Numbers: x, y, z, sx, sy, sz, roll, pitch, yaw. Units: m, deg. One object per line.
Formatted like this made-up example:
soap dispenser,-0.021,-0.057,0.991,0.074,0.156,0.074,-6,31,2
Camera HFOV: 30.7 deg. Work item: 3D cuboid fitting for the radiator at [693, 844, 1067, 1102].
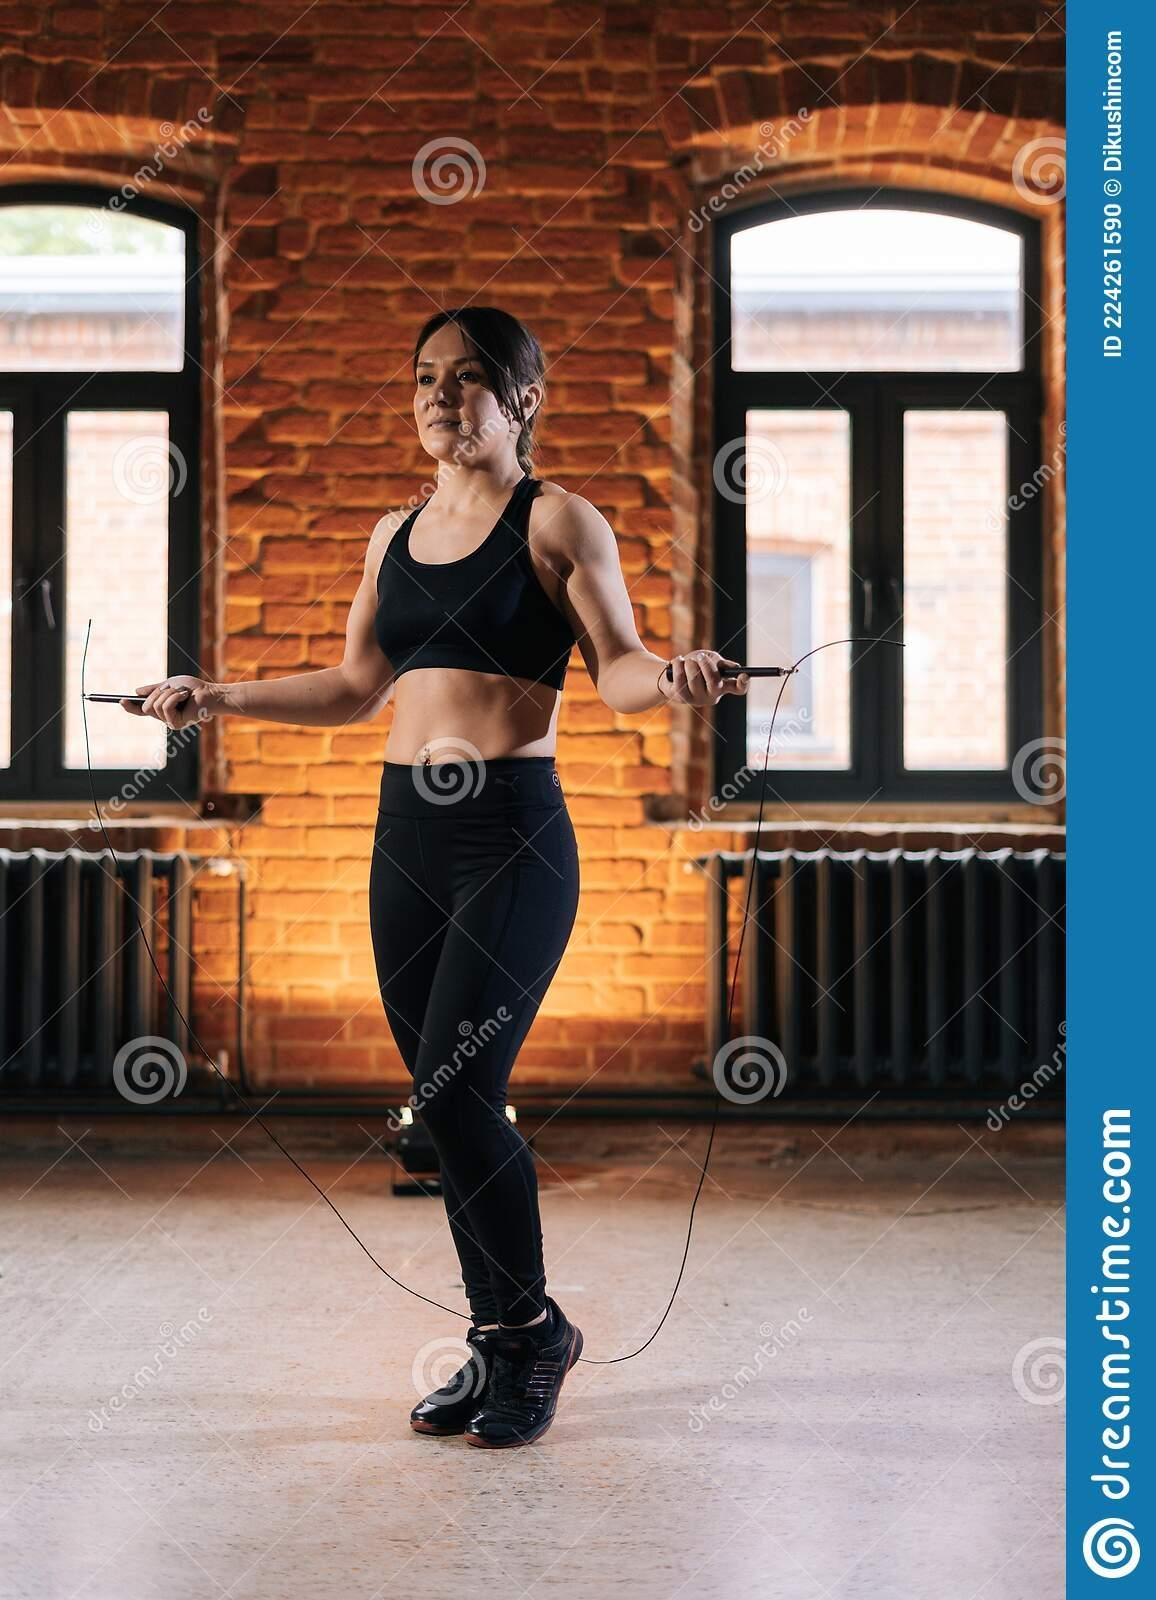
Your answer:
radiator,0.615,0.329,4.084,0.800,0.415,0.245,0,-3,0

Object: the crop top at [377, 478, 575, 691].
crop top,-0.152,-0.283,2.690,0.248,0.235,0.203,-8,-3,21

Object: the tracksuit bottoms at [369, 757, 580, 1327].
tracksuit bottoms,-0.074,0.328,2.687,0.322,0.708,0.340,-3,-5,-18

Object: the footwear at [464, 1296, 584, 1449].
footwear,-0.074,0.712,2.637,0.094,0.101,0.247,4,29,25
